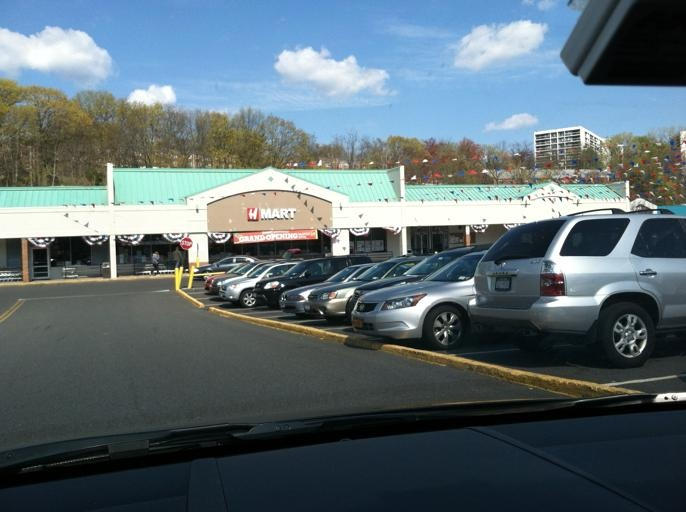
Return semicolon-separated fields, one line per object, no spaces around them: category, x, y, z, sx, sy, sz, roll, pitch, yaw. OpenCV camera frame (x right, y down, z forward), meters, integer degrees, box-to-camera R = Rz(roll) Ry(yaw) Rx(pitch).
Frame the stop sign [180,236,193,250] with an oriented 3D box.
stop sign;-9.355;-0.760;38.864;0.735;0.773;0.182;1;-5;8

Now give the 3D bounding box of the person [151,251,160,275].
person;-11.589;0.455;40.050;0.490;1.394;1.219;0;-3;-17

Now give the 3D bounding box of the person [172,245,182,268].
person;-10.308;0.006;40.664;0.416;1.227;1.060;0;-3;-33
